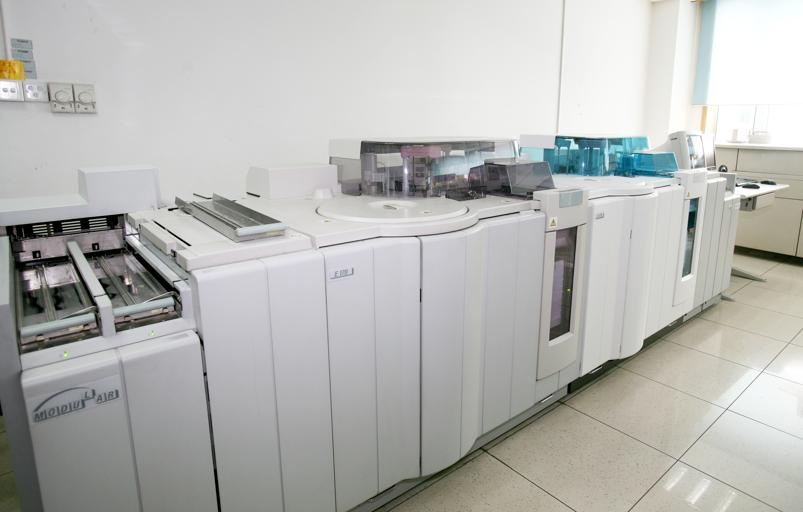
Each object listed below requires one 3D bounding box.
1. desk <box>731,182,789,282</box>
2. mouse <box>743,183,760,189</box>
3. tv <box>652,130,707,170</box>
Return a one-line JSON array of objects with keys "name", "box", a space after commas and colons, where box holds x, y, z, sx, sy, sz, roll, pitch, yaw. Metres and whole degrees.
[{"name": "desk", "box": [3.626, -0.240, 5.144, 0.872, 0.597, 0.518, -18, 23, -37]}, {"name": "mouse", "box": [3.185, -0.631, 4.653, 0.074, 0.025, 0.097, -13, 14, -28]}, {"name": "tv", "box": [2.113, -0.821, 3.988, 0.393, 0.276, 0.388, 9, 23, 35]}]
